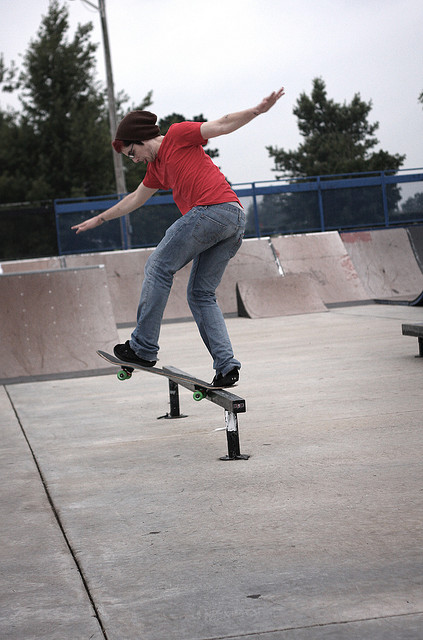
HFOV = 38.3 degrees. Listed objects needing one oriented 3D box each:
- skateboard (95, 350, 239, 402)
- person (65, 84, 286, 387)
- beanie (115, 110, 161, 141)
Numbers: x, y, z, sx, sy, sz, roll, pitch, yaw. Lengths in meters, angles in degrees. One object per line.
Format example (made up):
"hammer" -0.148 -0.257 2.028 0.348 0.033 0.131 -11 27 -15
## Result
"skateboard" -0.340 0.383 4.000 0.990 0.123 0.197 15 9 19
"person" -0.168 -0.397 3.089 0.585 1.411 1.727 5 -2 -44
"beanie" -0.357 -0.940 2.977 0.214 0.125 0.152 -7 15 -4
